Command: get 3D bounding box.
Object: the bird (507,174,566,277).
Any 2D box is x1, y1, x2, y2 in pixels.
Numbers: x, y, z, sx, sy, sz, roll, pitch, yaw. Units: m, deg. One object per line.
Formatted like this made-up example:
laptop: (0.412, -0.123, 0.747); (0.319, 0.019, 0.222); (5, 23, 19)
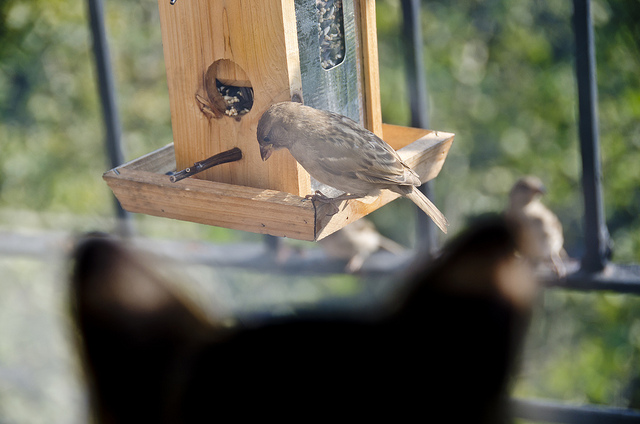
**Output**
bird: (1.322, 0.088, 4.702); (0.198, 0.266, 0.610); (-29, 48, 29)
